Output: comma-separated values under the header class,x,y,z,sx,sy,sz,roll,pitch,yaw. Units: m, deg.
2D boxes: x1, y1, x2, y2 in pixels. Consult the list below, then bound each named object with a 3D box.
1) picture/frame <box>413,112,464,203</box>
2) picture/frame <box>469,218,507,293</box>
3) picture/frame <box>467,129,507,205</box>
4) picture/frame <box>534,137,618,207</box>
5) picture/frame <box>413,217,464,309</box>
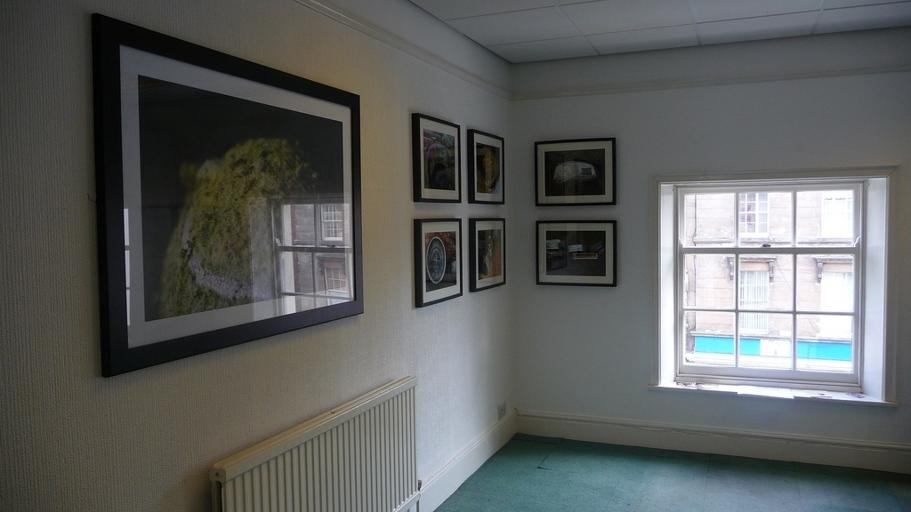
class,x,y,z,sx,sy,sz,roll,pitch,yaw
picture/frame,-0.157,-0.783,4.856,0.090,0.726,0.829,2,3,29
picture/frame,0.286,-0.007,5.541,0.082,0.655,0.745,1,-1,26
picture/frame,0.268,-0.805,5.505,0.086,0.655,0.805,2,2,27
picture/frame,1.206,-0.810,5.845,0.749,0.575,0.031,0,0,15
picture/frame,-0.154,0.052,4.871,0.080,0.748,0.825,-1,0,28
